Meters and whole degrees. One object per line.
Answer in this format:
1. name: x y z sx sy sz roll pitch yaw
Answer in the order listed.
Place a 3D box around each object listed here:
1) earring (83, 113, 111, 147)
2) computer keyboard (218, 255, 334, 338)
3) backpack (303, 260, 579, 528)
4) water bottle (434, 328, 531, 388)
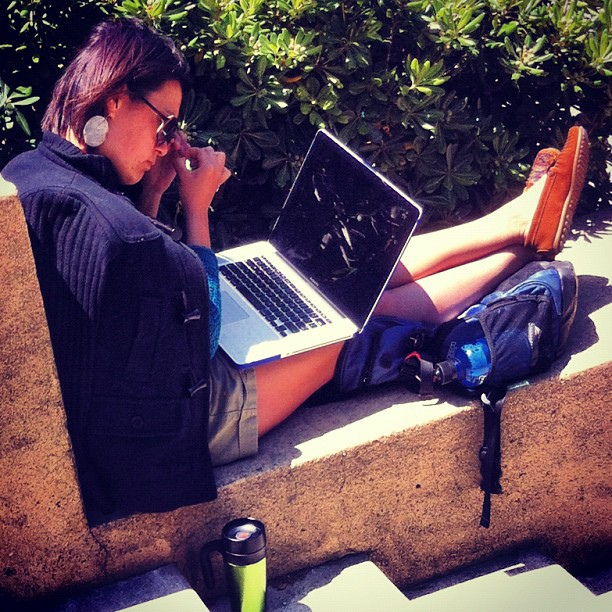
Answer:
1. earring: -0.596 -0.502 1.962 0.032 0.093 0.083 19 22 37
2. computer keyboard: -0.109 -0.025 2.489 0.252 0.022 0.502 -15 38 -23
3. backpack: 0.555 0.326 2.454 1.116 0.340 0.827 -15 58 0
4. water bottle: 0.617 0.183 2.447 0.319 0.169 0.112 -14 10 -10
